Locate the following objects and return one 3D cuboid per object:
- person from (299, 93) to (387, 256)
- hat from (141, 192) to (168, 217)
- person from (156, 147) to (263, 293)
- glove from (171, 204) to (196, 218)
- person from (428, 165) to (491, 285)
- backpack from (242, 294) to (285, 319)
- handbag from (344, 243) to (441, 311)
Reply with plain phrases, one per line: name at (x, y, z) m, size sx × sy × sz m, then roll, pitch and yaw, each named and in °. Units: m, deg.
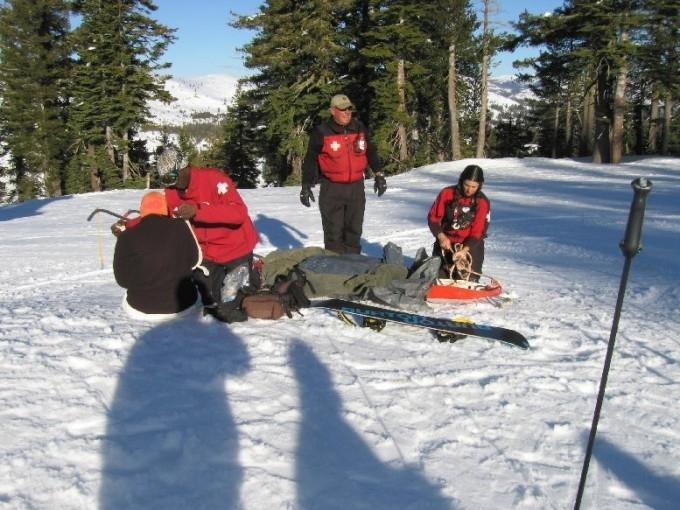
person at (0.035, -1.066, 9.121) m, size 1.135 × 2.112 × 0.672 m, roll -1°, pitch 9°, yaw 1°
hat at (-2.081, -0.571, 7.621) m, size 0.300 × 0.254 × 0.457 m, roll -3°, pitch 7°, yaw -13°
person at (-1.520, -0.366, 7.965) m, size 1.080 × 1.586 × 0.721 m, roll -2°, pitch 9°, yaw -5°
glove at (-1.722, -0.485, 7.613) m, size 0.254 × 0.160 × 0.126 m, roll -2°, pitch 8°, yaw -9°
person at (1.483, -0.378, 8.527) m, size 0.744 × 1.468 × 0.569 m, roll -1°, pitch 9°, yaw 6°
backpack at (-0.850, 0.578, 7.644) m, size 0.443 × 0.244 × 0.179 m, roll 1°, pitch 9°, yaw 13°
handbag at (0.627, 0.272, 7.981) m, size 1.165 × 0.272 × 0.879 m, roll 1°, pitch 20°, yaw 1°
